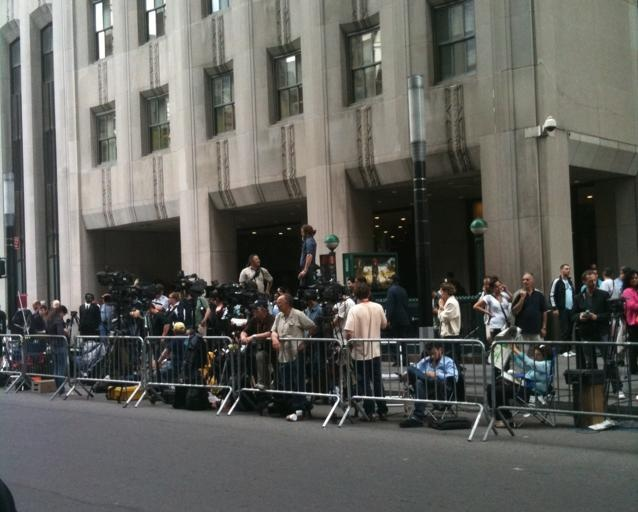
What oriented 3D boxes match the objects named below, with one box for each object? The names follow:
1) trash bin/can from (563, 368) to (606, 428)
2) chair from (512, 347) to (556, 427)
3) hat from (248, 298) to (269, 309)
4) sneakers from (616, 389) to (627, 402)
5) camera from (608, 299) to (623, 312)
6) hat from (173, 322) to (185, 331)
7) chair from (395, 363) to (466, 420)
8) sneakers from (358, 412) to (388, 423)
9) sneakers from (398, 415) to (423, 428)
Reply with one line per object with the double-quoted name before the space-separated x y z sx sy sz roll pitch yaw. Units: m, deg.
"trash bin/can" 4.409 2.337 15.602 0.652 0.995 0.879 -3 -4 15
"chair" 3.535 2.063 15.801 0.643 1.283 0.557 11 -15 -1
"hat" -1.170 0.911 18.304 0.277 0.135 0.196 -1 -7 8
"sneakers" 4.784 2.187 14.946 0.074 0.163 0.196 -1 -4 -15
"camera" 5.637 0.926 17.926 0.216 0.219 0.224 1 1 32
"hat" -2.989 1.527 20.171 0.175 0.236 0.247 4 12 11
"chair" 1.898 2.136 16.277 0.938 1.506 0.840 5 -8 -15
"sneakers" 0.992 2.931 17.199 0.553 0.264 0.182 7 -6 0
"sneakers" 1.608 2.857 16.444 0.430 0.193 0.169 2 -3 -14
